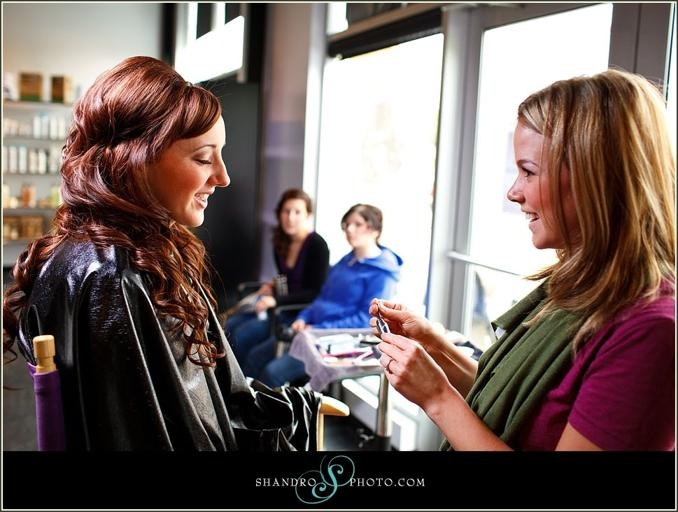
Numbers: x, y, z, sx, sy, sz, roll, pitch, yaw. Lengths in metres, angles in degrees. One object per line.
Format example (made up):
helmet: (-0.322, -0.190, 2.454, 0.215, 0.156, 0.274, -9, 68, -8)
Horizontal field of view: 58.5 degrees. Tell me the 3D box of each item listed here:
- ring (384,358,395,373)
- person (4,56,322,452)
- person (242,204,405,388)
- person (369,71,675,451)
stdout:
ring: (0.111, 0.238, 1.309, 0.010, 0.026, 0.019, 5, -2, -3)
person: (-0.406, 0.046, 1.389, 0.684, 0.964, 0.317, -5, 10, -26)
person: (-0.050, 0.212, 2.809, 0.741, 0.949, 0.441, 1, 9, -26)
person: (0.428, 0.015, 1.283, 0.526, 0.796, 0.314, 3, 9, 24)
